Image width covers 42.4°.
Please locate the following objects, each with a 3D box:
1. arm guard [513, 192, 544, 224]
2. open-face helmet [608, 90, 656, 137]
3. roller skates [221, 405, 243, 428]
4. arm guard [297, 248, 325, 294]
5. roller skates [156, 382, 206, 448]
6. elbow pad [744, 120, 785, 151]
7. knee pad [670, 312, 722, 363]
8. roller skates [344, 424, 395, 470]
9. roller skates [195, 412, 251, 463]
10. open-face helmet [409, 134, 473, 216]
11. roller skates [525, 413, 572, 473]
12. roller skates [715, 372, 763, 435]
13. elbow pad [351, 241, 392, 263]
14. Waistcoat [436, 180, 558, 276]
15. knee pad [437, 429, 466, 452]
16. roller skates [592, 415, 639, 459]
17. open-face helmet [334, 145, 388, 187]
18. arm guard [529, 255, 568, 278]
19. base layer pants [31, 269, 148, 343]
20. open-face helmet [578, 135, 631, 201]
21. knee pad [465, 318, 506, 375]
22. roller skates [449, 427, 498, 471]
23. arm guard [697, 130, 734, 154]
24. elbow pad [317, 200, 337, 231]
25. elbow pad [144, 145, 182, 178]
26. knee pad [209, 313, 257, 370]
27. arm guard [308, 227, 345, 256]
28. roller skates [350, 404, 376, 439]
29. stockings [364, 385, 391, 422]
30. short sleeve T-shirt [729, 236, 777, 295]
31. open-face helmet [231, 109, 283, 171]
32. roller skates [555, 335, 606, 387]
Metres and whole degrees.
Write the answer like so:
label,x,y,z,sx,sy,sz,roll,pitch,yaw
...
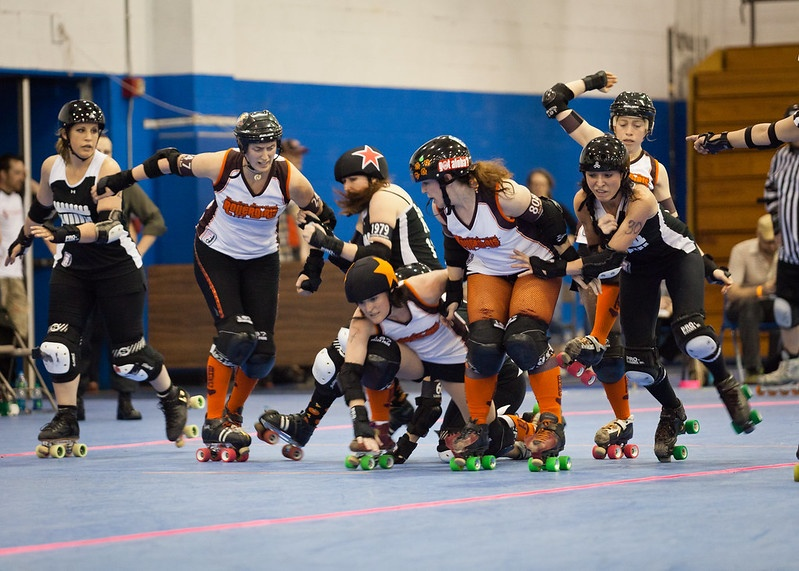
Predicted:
label,x,y,z,sx,sy,sz,roll,pitch,yaw
arm guard,0.799,-0.475,6.369,0.154,0.159,0.157,-5,37,-27
open-face helmet,1.599,-1.163,7.084,0.285,0.298,0.326,1,-1,10
roller skates,-1.158,0.923,7.155,0.102,0.139,0.142,1,-12,-1
arm guard,-0.629,-0.088,7.273,0.148,0.320,0.121,15,-27,2
roller skates,-1.599,0.968,7.654,0.274,0.495,0.315,-17,-17,35
elbow pad,2.229,-0.900,6.251,0.171,0.078,0.216,-12,7,41
knee pad,1.914,0.356,6.687,0.266,0.153,0.326,-7,16,0
roller skates,-0.216,1.062,6.564,0.204,0.245,0.327,-10,-18,30
roller skates,-1.184,1.061,6.980,0.408,0.245,0.211,-8,-10,41
open-face helmet,0.245,-0.702,6.531,0.475,0.524,0.412,-10,-1,8
roller skates,0.930,0.973,6.403,0.261,0.336,0.303,0,1,9
roller skates,2.189,0.781,6.734,0.228,0.444,0.145,-34,-7,22
elbow pad,-0.170,-0.214,6.826,0.185,0.105,0.143,1,-11,22
Waistcoat,0.603,-0.342,6.349,0.548,0.281,0.440,-16,-51,46
knee pad,0.325,1.002,6.656,0.123,0.144,0.201,-2,-10,-3
roller skates,1.427,1.049,6.890,0.221,0.293,0.445,-9,-10,42
open-face helmet,-0.286,-0.847,7.154,0.329,0.261,0.247,6,-16,-36
arm guard,0.914,-0.109,6.333,0.211,0.120,0.083,4,-16,-15
base layer pants,-2.245,0.148,7.700,0.885,0.800,0.512,-1,-6,-1
open-face helmet,1.328,-0.754,6.544,0.296,0.378,0.390,-2,-3,17
knee pad,0.535,0.379,6.386,0.250,0.320,0.173,-2,-18,4
roller skates,0.454,1.019,6.375,0.164,0.236,0.389,-6,-14,24
arm guard,2.002,-0.904,6.489,0.164,0.129,0.274,-1,1,-41
elbow pad,-0.498,-0.473,7.282,0.142,0.175,0.184,-3,-8,-2
elbow pad,-1.647,-0.847,7.138,0.250,0.116,0.196,-15,-10,2
knee pad,-1.121,0.391,7.009,0.175,0.222,0.295,25,18,-7
arm guard,-0.503,-0.273,6.853,0.235,0.139,0.091,28,-31,-29
roller skates,-0.227,0.863,6.445,0.128,0.201,0.073,-22,-30,0
stockings,-0.129,0.775,6.668,0.163,0.207,0.063,-3,1,-13
short sleeve T-shirt,4.072,-0.196,11.815,0.761,0.550,0.392,-1,-2,0
open-face helmet,-0.940,-0.968,6.821,0.298,0.404,0.298,-1,1,-9
roller skates,1.140,0.433,6.471,0.332,0.277,0.152,-37,45,-24
